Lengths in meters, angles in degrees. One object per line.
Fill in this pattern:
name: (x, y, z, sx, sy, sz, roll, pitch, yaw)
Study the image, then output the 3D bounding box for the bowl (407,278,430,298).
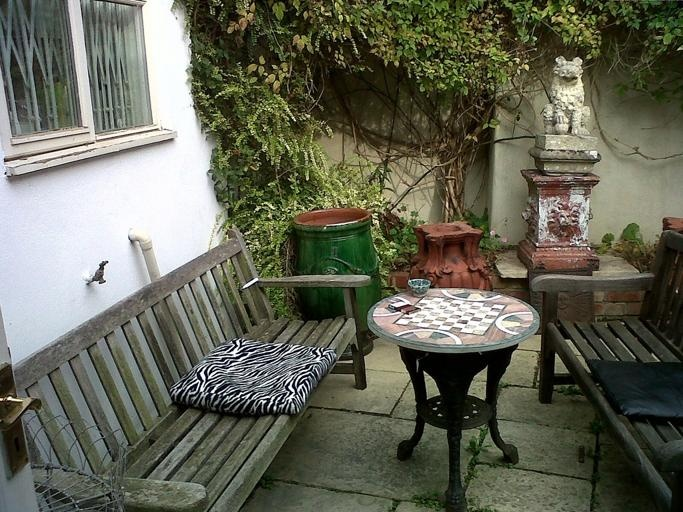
bowl: (0.495, 0.195, 3.002, 0.119, 0.077, 0.116, 0, 8, 0)
